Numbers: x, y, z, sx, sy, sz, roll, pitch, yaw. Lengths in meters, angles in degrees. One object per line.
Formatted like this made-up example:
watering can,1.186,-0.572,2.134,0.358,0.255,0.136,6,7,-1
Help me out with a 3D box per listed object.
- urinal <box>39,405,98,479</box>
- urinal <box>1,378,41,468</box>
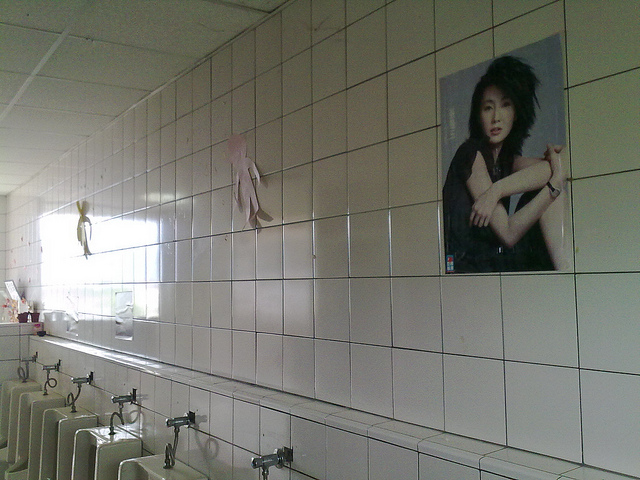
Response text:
urinal,-1.687,1.378,3.582,0.211,0.403,0.398,9,-17,-32
urinal,-2.542,1.589,4.534,0.275,0.578,0.537,5,-10,-40
